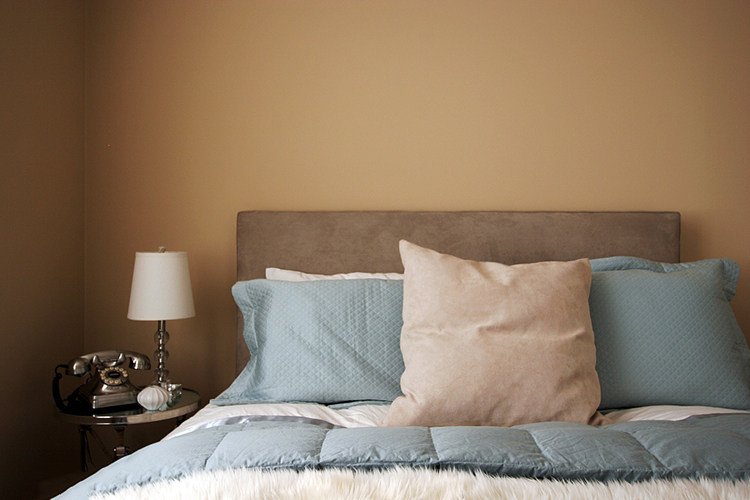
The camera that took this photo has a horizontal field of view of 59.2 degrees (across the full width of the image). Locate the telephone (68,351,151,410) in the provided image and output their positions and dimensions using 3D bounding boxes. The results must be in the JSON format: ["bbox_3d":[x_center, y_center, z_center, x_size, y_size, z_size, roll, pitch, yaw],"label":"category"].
[{"bbox_3d":[-1.390,0.667,3.443,0.424,0.299,0.241,3,-1,-43],"label":"telephone"}]

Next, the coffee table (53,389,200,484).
[{"bbox_3d":[-1.277,0.898,3.545,0.576,0.674,0.602,0,-4,-3],"label":"coffee table"}]
